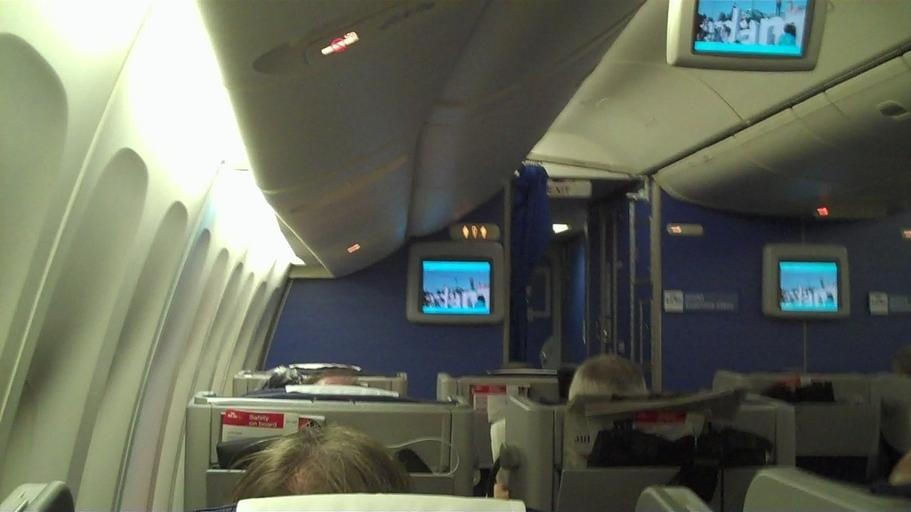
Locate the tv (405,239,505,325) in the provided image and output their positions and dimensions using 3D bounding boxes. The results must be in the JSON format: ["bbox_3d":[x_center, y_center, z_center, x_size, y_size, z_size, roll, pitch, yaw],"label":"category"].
[{"bbox_3d":[0.024,0.534,11.128,1.429,1.105,0.461,0,-3,-3],"label":"tv"}]

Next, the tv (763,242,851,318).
[{"bbox_3d":[6.192,0.475,12.388,1.348,1.057,0.683,0,-8,2],"label":"tv"}]

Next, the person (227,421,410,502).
[{"bbox_3d":[-0.784,1.145,3.958,0.882,0.258,0.869,-3,8,-21],"label":"person"}]
